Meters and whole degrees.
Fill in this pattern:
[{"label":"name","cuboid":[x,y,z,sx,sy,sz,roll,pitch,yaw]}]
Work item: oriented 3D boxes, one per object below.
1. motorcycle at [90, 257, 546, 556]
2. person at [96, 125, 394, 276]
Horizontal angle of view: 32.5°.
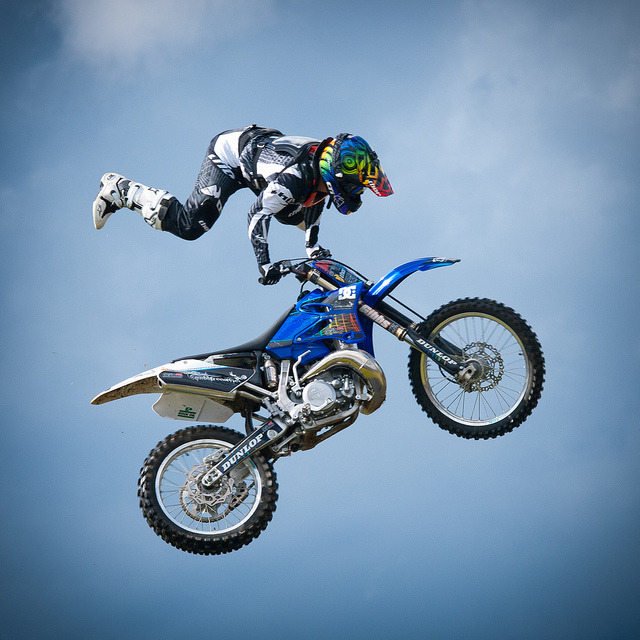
[{"label":"motorcycle","cuboid":[-0.158,0.505,7.401,2.101,0.885,1.240,-31,-104,0]},{"label":"person","cuboid":[-0.679,-1.060,8.966,2.443,1.315,1.135,7,-71,12]}]
